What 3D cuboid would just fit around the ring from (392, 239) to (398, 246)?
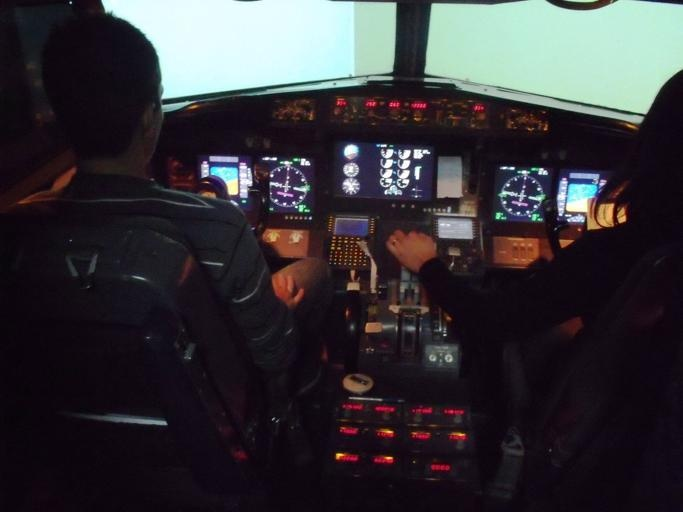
[{"bbox_3d":[0.222,-0.057,2.398,0.019,0.019,0.005,10,13,43],"label":"ring"}]
